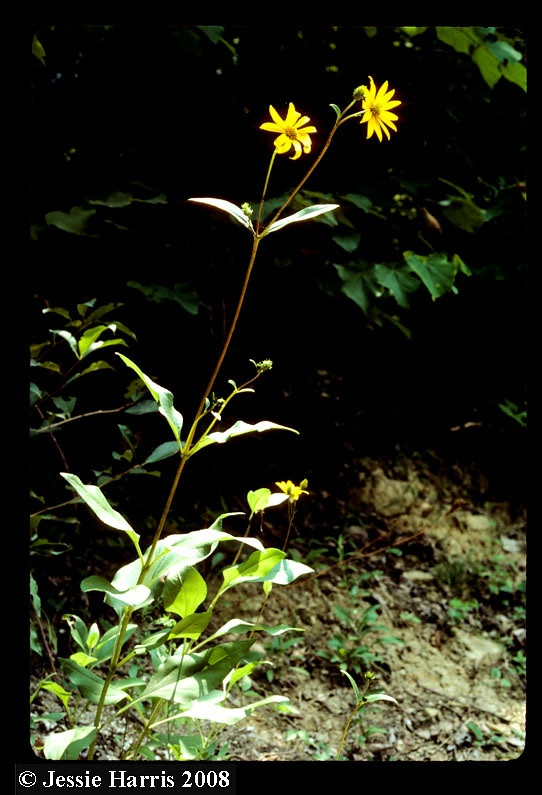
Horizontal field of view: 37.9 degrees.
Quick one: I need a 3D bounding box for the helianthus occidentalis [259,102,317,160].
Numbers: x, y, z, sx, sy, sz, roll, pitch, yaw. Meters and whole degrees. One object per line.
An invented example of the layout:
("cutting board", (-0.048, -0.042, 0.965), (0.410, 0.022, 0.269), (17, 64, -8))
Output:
("helianthus occidentalis", (0.029, -0.432, 1.279), (0.027, 0.077, 0.077), (-49, -4, 26))
